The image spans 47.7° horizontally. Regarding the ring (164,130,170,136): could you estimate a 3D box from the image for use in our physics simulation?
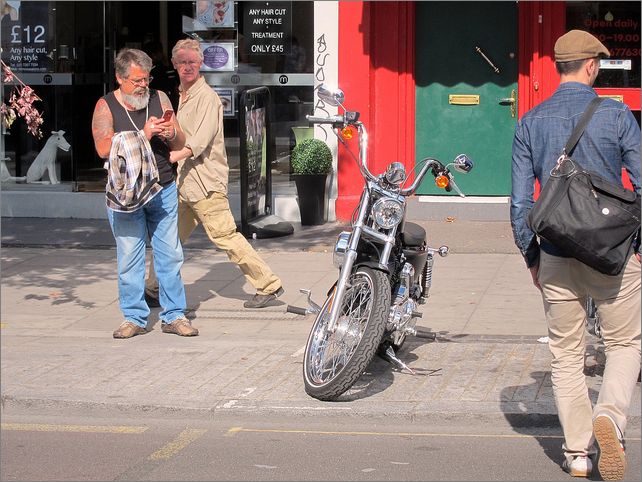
[{"bbox_3d":[-1.292,-0.903,6.102,0.036,0.016,0.048,2,39,-1],"label":"ring"}]

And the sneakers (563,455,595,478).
[{"bbox_3d":[1.406,1.212,3.938,0.095,0.084,0.204,1,10,10],"label":"sneakers"}]

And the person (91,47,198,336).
[{"bbox_3d":[-1.537,-0.391,6.317,0.750,2.481,0.596,-5,13,-17],"label":"person"}]

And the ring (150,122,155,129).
[{"bbox_3d":[-1.393,-0.954,6.020,0.056,0.050,0.014,2,-7,-30],"label":"ring"}]

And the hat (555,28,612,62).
[{"bbox_3d":[1.447,-1.065,3.954,0.245,0.107,0.185,-12,19,-35],"label":"hat"}]

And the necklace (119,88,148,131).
[{"bbox_3d":[-1.576,-1.097,6.170,0.260,0.356,0.432,-4,13,-13],"label":"necklace"}]

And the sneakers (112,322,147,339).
[{"bbox_3d":[-1.677,0.793,6.442,0.115,0.146,0.320,0,-4,29],"label":"sneakers"}]

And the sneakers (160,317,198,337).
[{"bbox_3d":[-1.248,0.771,6.513,0.353,0.143,0.141,1,-2,29],"label":"sneakers"}]

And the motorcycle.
[{"bbox_3d":[0.425,-0.014,5.108,0.971,2.100,1.279,6,14,27],"label":"motorcycle"}]
